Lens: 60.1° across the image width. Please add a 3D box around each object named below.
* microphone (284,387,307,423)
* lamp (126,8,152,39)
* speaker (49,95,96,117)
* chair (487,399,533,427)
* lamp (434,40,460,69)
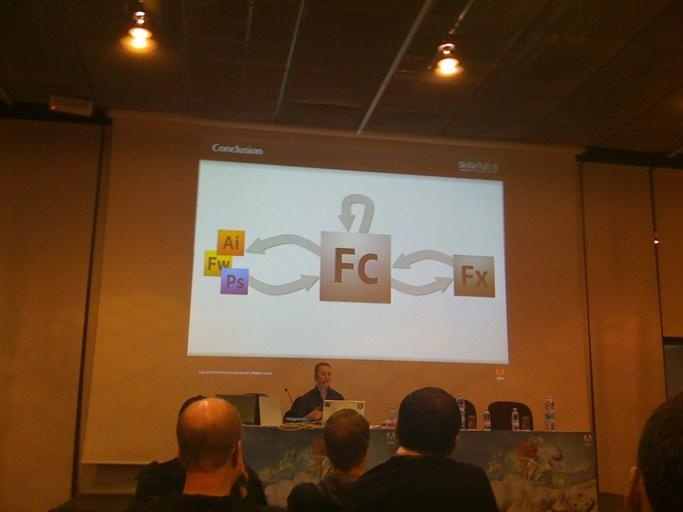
[{"bbox_3d":[-0.412,1.463,5.742,0.229,0.302,0.319,-5,-11,34],"label":"microphone"},{"bbox_3d":[-1.771,-2.033,5.193,0.154,0.159,0.149,3,-1,11],"label":"lamp"},{"bbox_3d":[-2.779,-1.541,6.118,0.419,0.184,0.384,5,-9,-20],"label":"speaker"},{"bbox_3d":[1.622,1.501,5.662,0.356,0.263,0.371,-2,-12,11],"label":"chair"},{"bbox_3d":[0.990,-1.865,5.509,0.139,0.160,0.158,2,-24,2],"label":"lamp"}]
